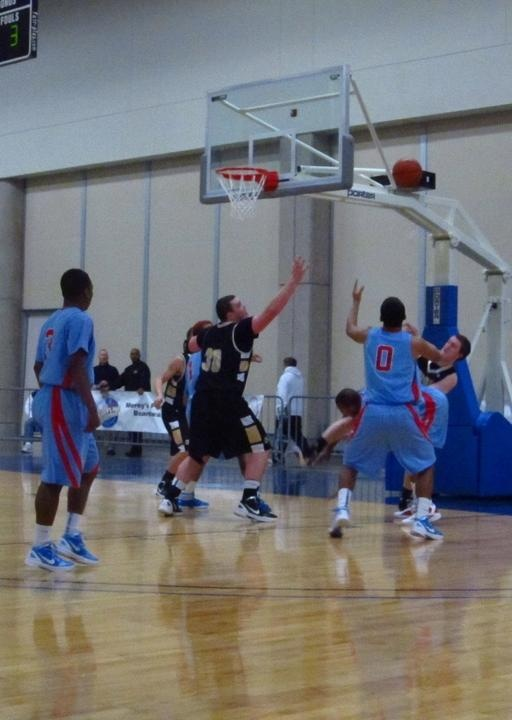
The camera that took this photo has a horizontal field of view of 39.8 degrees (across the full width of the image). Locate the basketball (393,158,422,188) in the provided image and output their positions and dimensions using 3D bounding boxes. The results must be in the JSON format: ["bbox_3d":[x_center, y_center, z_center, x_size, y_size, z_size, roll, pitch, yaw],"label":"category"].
[{"bbox_3d":[1.538,-1.878,7.239,0.268,0.344,0.279,3,23,41],"label":"basketball"}]
